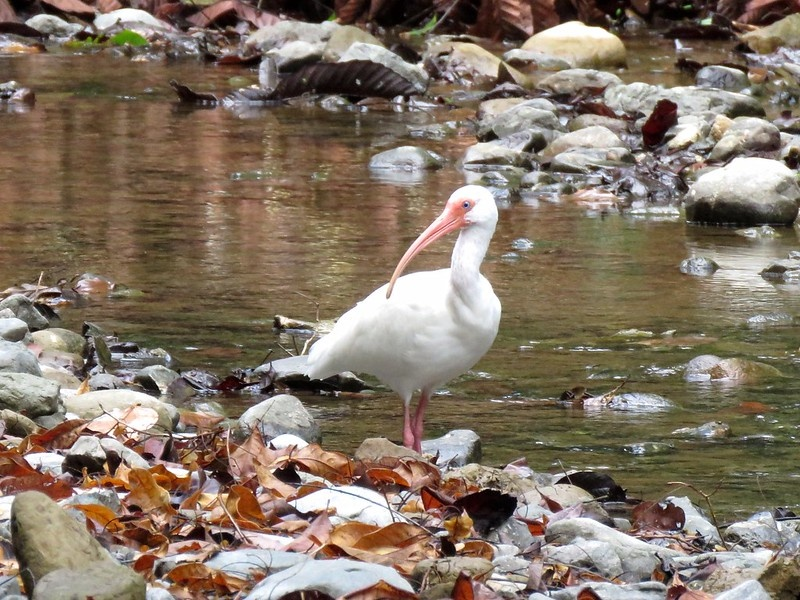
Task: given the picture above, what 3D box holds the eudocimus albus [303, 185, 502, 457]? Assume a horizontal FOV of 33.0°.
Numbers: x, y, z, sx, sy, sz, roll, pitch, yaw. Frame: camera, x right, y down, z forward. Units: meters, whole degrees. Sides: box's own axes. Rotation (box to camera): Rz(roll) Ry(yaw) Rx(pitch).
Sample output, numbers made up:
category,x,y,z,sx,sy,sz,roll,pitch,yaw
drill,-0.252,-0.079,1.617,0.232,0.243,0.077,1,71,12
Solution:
category,x,y,z,sx,sy,sz,roll,pitch,yaw
eudocimus albus,0.070,0.087,7.532,0.806,1.423,0.738,-2,5,-30
